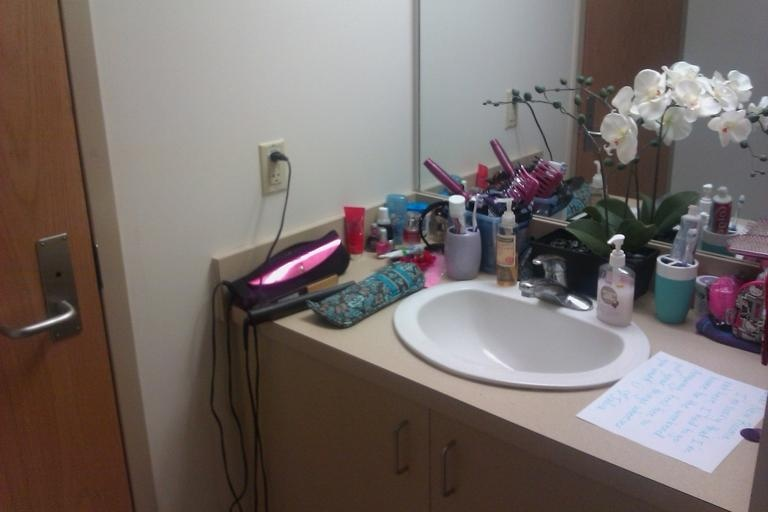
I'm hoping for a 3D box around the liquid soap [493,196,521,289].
[{"bbox_3d":[0.372,-0.032,1.749,0.084,0.241,0.098,2,11,16],"label":"liquid soap"}]

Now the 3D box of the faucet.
[{"bbox_3d":[0.493,0.062,1.710,0.103,0.142,0.266,-9,18,-41],"label":"faucet"}]

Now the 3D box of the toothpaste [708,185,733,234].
[{"bbox_3d":[0.968,-0.138,1.655,0.052,0.145,0.052,-31,36,-21],"label":"toothpaste"}]

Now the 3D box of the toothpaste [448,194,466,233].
[{"bbox_3d":[0.235,-0.146,1.835,0.053,0.114,0.125,0,19,7],"label":"toothpaste"}]

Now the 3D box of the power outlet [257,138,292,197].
[{"bbox_3d":[-0.341,-0.280,1.773,0.025,0.233,0.127,17,24,39],"label":"power outlet"}]

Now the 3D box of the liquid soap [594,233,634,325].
[{"bbox_3d":[0.634,0.065,1.574,0.096,0.243,0.076,12,23,37],"label":"liquid soap"}]

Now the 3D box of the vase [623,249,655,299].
[{"bbox_3d":[0.727,0.047,1.651,0.095,0.132,0.108,7,16,42],"label":"vase"}]

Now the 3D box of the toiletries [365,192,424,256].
[{"bbox_3d":[0.044,-0.100,2.038,0.160,0.239,0.166,20,30,41],"label":"toiletries"}]

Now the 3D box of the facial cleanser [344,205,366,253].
[{"bbox_3d":[-0.093,-0.093,1.984,0.084,0.165,0.072,-10,20,-22],"label":"facial cleanser"}]

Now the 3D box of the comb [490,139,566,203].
[{"bbox_3d":[0.481,-0.293,1.934,0.182,0.167,0.117,-1,25,-6],"label":"comb"}]
